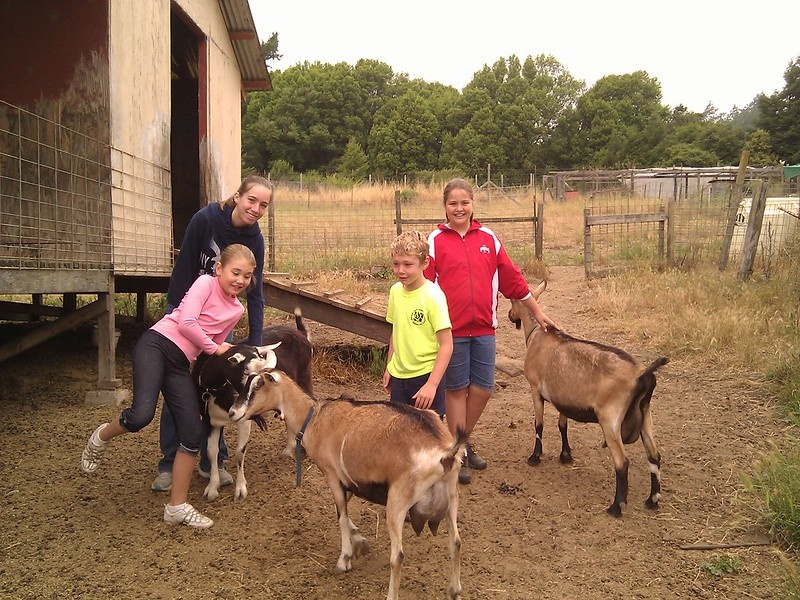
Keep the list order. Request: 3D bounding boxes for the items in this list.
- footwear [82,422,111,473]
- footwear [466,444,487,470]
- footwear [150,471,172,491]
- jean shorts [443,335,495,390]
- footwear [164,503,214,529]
[{"bbox_3d":[-2.857,1.405,5.866,0.160,0.543,0.214,17,3,-15],"label":"footwear"},{"bbox_3d":[0.811,1.699,6.698,0.116,0.159,0.364,-2,-2,-16],"label":"footwear"},{"bbox_3d":[-2.247,1.704,5.866,0.121,0.132,0.282,8,-14,-8],"label":"footwear"},{"bbox_3d":[0.655,0.589,6.011,0.467,0.750,0.295,2,-1,-9],"label":"jean shorts"},{"bbox_3d":[-1.849,1.881,5.516,0.461,0.231,0.193,10,1,-8],"label":"footwear"}]
